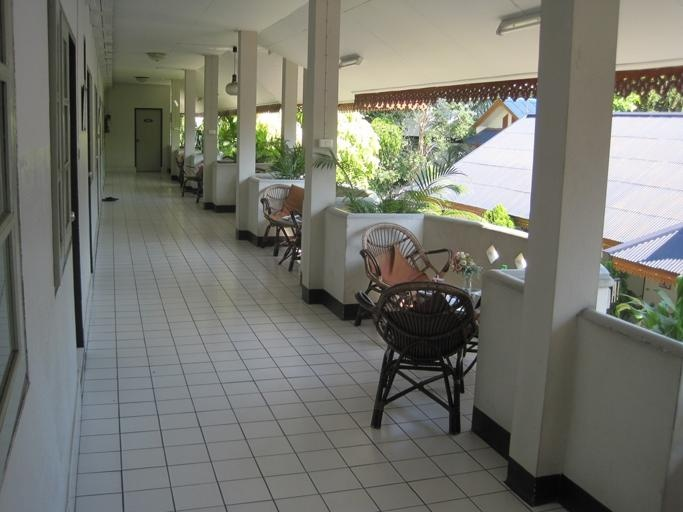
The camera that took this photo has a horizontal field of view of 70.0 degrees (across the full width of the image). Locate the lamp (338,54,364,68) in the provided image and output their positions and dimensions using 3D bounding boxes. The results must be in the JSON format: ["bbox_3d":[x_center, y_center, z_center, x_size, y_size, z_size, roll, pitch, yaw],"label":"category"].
[{"bbox_3d":[0.186,-3.277,8.149,0.295,0.154,0.680,-3,14,-22],"label":"lamp"}]

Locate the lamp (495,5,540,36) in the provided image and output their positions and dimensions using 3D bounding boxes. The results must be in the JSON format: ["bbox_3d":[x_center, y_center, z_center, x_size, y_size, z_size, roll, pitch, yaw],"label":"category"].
[{"bbox_3d":[1.824,-2.447,5.059,0.132,0.177,0.657,-2,14,-19],"label":"lamp"}]
